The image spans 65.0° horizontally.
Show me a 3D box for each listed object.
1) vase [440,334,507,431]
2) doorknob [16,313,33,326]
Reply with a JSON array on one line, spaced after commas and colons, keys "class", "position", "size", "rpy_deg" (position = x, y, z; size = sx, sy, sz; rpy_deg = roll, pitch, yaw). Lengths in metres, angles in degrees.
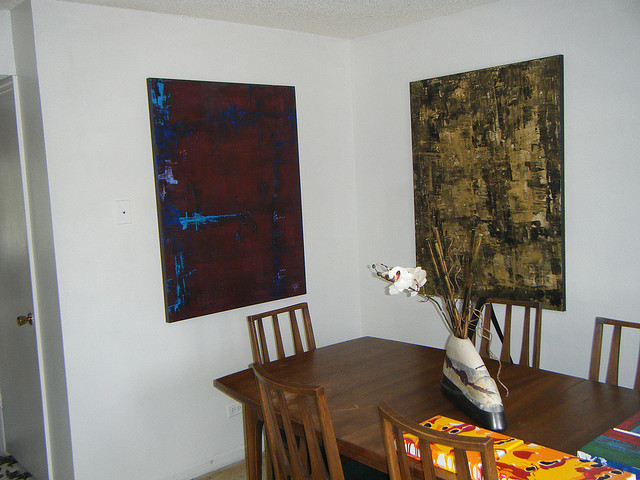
[{"class": "vase", "position": [0.662, 0.590, 2.183], "size": [0.139, 0.297, 0.409], "rpy_deg": [-7, 14, -20]}, {"class": "doorknob", "position": [-1.927, 0.513, 3.275], "size": [0.093, 0.073, 0.031], "rpy_deg": [0, 6, -16]}]
